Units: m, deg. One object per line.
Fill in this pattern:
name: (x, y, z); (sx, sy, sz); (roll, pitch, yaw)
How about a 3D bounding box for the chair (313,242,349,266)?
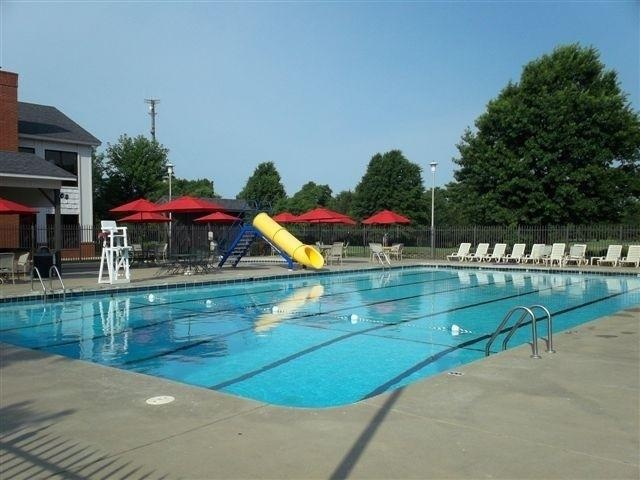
chair: (0.581, 0.776, 24.947); (1.325, 1.737, 1.330); (0, 6, -1)
